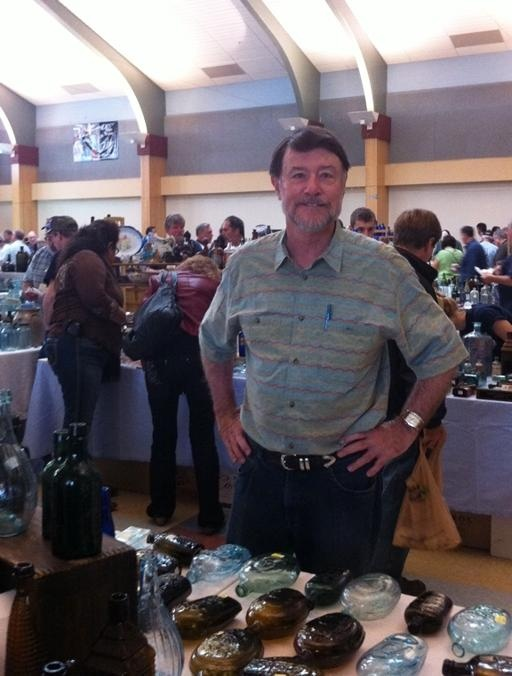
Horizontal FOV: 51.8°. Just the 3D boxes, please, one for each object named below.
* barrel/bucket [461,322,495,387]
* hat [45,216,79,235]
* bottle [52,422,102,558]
[{"bbox_3d":[1.220,0.078,2.768,0.197,0.319,0.206,0,-7,0],"label":"barrel/bucket"},{"bbox_3d":[-1.248,-0.729,3.390,0.175,0.086,0.130,16,23,35],"label":"hat"},{"bbox_3d":[-0.228,0.192,0.676,0.062,0.162,0.070,0,1,-21],"label":"bottle"}]
